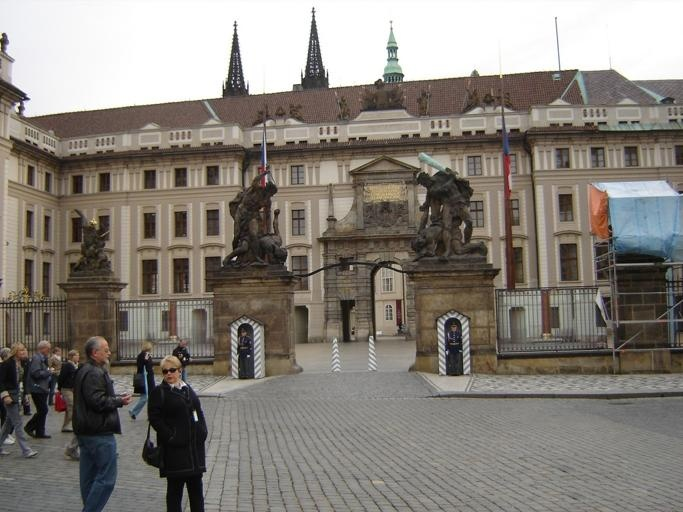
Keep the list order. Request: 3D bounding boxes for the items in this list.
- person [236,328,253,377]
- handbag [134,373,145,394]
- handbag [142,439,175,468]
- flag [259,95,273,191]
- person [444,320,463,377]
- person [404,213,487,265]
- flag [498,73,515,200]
[{"bbox_3d":[-2.935,2.919,29.714,0.503,1.635,0.177,-2,-5,-10],"label":"person"},{"bbox_3d":[-4.626,2.921,22.217,0.256,0.433,0.479,-2,-5,-13],"label":"handbag"},{"bbox_3d":[-3.034,3.194,15.665,0.445,0.480,0.205,-7,-6,43],"label":"handbag"},{"bbox_3d":[-4.047,-5.586,50.590,0.776,3.529,0.410,19,25,40],"label":"flag"},{"bbox_3d":[3.374,2.732,29.217,0.552,1.693,0.170,-4,-5,11],"label":"person"},{"bbox_3d":[3.452,-0.407,30.655,2.835,1.557,1.022,0,-6,6],"label":"person"},{"bbox_3d":[7.125,-5.209,42.699,0.468,6.457,0.534,1,16,21],"label":"flag"}]
